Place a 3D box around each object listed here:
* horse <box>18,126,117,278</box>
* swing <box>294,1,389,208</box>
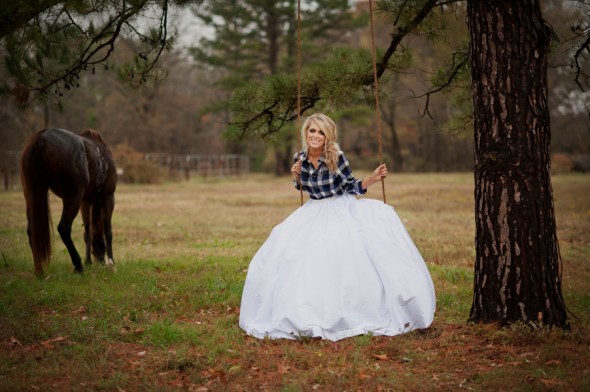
[{"bbox_3d":[-5.067,0.066,26.857,2.141,3.253,0.691,-3,4,-42],"label":"horse"},{"bbox_3d":[0.974,-2.675,26.771,2.127,6.995,2.143,1,17,8],"label":"swing"}]
